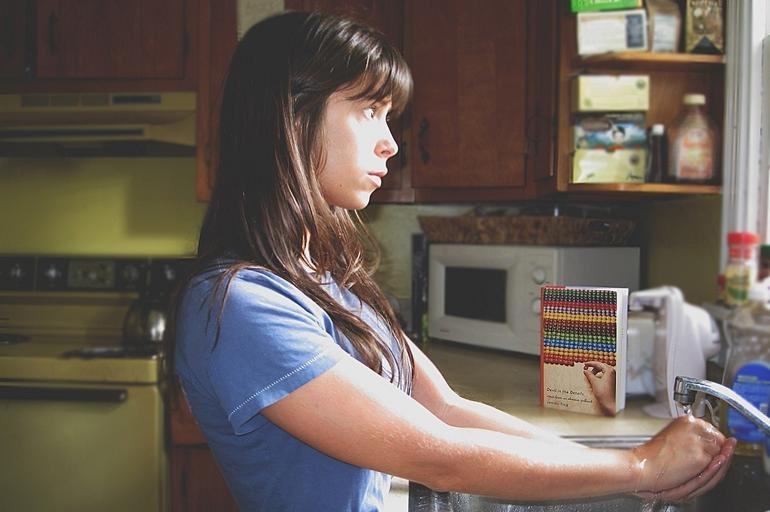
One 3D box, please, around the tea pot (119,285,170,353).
[{"bbox_3d":[-0.619,0.158,1.815,0.081,0.157,0.161,2,2,-4],"label":"tea pot"}]
